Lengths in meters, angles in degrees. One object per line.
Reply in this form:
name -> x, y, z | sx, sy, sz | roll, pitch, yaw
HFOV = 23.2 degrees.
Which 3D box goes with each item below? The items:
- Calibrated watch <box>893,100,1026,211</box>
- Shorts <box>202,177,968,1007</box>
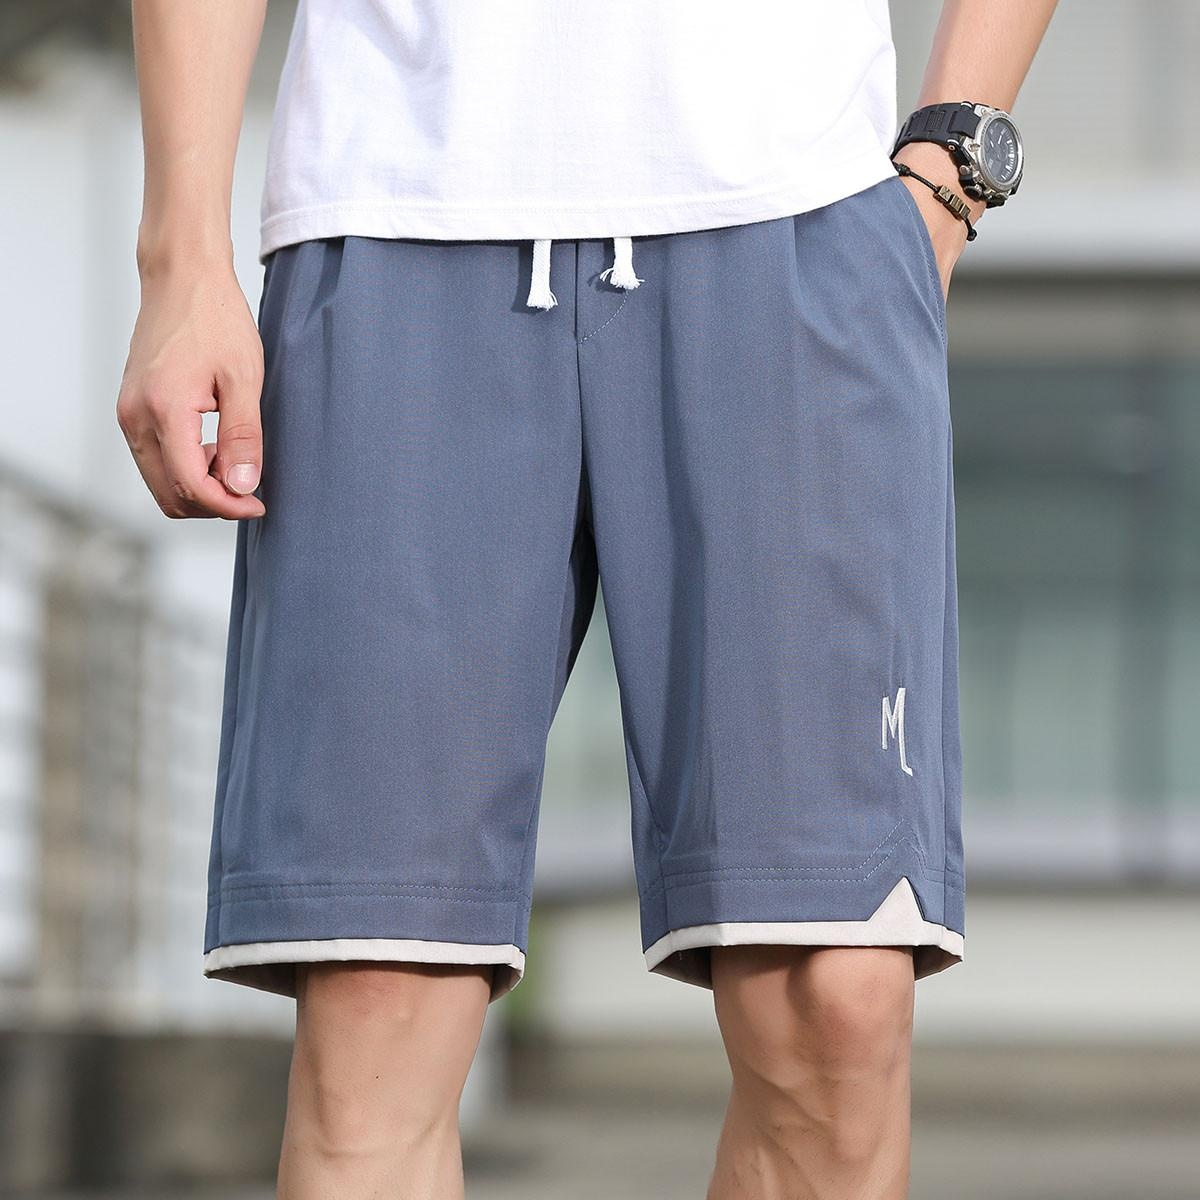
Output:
Calibrated watch -> 0.307, -0.368, 2.439 | 0.102, 0.075, 0.106 | 4, -29, 18
Shorts -> -0.011, -0.017, 2.221 | 0.587, 0.708, 0.224 | 0, -6, -2
